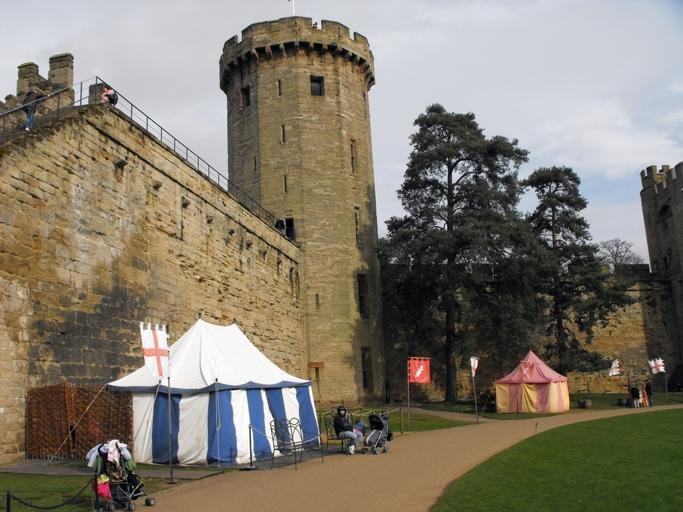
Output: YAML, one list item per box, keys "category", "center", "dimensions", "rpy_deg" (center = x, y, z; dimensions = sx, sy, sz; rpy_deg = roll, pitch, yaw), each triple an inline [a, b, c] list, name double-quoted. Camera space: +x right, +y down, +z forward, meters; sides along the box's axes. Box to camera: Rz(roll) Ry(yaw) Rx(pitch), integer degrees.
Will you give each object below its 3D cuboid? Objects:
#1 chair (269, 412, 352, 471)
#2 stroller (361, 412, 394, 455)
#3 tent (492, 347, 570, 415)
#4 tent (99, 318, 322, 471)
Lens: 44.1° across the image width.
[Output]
- category: "chair"
  center: [-1.443, 5.814, 26.668]
  dimensions: [1.057, 2.054, 3.180]
  rpy_deg: [-5, -13, 17]
- category: "stroller"
  center: [1.202, 5.728, 27.231]
  dimensions: [0.835, 1.381, 1.282]
  rpy_deg: [-2, -1, 31]
- category: "tent"
  center: [9.580, 6.258, 41.289]
  dimensions: [2.440, 2.640, 3.331]
  rpy_deg: [-3, -5, -34]
- category: "tent"
  center: [-4.115, 4.652, 26.545]
  dimensions: [4.275, 3.763, 5.500]
  rpy_deg: [-9, -14, 26]
